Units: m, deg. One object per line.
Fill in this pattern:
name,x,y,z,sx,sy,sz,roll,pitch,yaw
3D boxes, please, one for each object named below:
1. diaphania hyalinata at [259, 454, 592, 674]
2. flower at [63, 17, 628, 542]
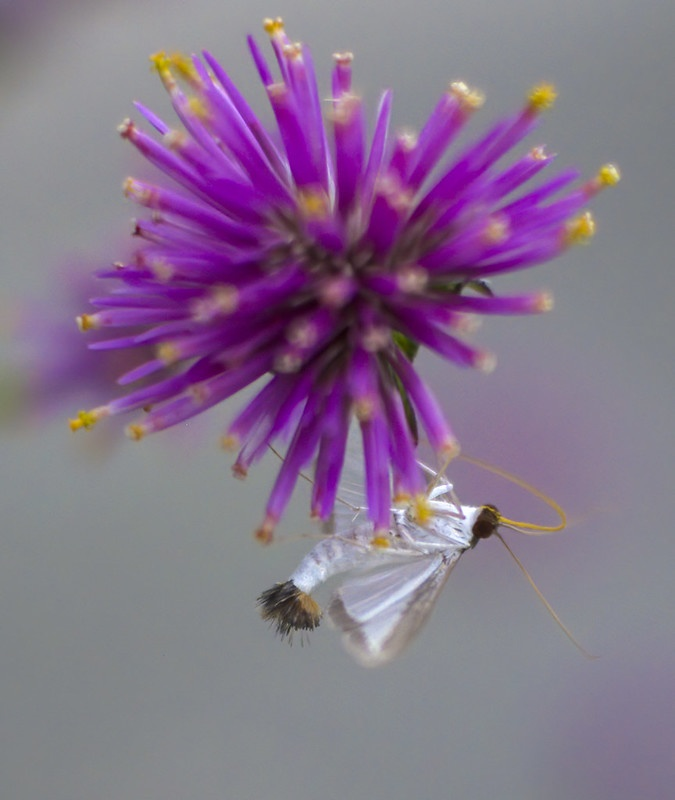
diaphania hyalinata,0.048,0.170,0.758,0.308,0.257,0.078,-2,-68,-1
flower,0.001,-0.133,0.715,0.392,0.304,0.188,-9,-100,-23
